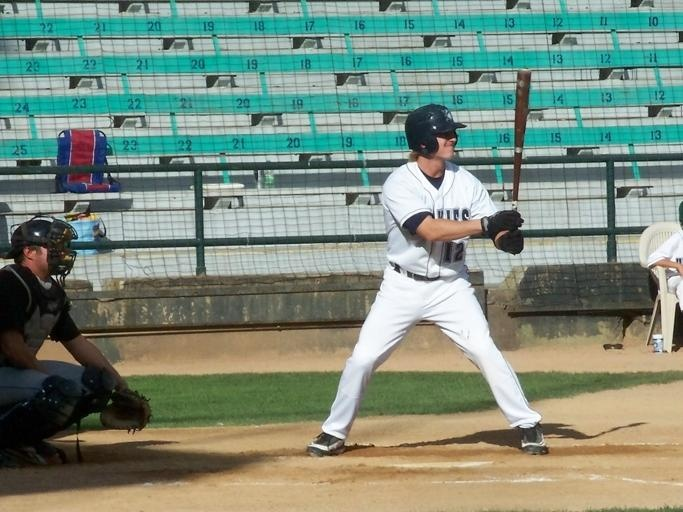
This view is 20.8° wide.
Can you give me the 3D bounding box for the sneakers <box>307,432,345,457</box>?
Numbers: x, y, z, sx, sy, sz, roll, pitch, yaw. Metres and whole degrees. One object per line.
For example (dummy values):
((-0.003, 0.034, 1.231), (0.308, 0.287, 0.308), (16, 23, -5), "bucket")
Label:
((-0.184, 2.446, 24.271), (0.536, 0.230, 0.235), (4, 0, -9), "sneakers")
